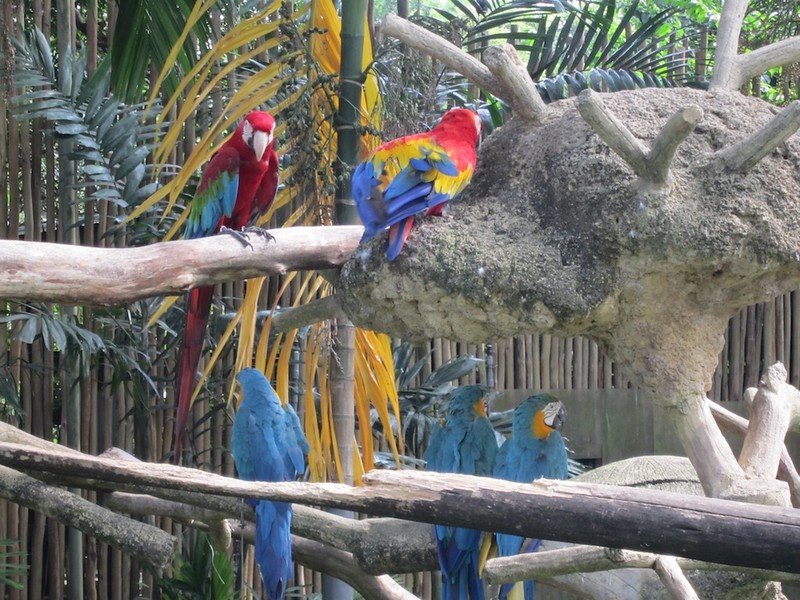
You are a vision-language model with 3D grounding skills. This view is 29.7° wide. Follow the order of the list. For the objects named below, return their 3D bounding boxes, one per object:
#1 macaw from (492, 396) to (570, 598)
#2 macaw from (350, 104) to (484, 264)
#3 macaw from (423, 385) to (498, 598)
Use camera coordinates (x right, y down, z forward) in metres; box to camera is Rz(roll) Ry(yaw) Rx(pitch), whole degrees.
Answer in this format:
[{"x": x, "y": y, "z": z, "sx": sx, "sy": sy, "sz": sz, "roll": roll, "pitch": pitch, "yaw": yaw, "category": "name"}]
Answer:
[{"x": 0.549, "y": 0.870, "z": 6.477, "sx": 0.307, "sy": 0.931, "sz": 0.365, "roll": 4, "pitch": 5, "yaw": 4, "category": "macaw"}, {"x": 0.097, "y": -0.453, "z": 5.784, "sx": 0.539, "sy": 0.604, "sz": 0.309, "roll": 0, "pitch": 6, "yaw": -40, "category": "macaw"}, {"x": 0.251, "y": 0.833, "z": 6.514, "sx": 0.313, "sy": 0.895, "sz": 0.467, "roll": 3, "pitch": 5, "yaw": 1, "category": "macaw"}]
